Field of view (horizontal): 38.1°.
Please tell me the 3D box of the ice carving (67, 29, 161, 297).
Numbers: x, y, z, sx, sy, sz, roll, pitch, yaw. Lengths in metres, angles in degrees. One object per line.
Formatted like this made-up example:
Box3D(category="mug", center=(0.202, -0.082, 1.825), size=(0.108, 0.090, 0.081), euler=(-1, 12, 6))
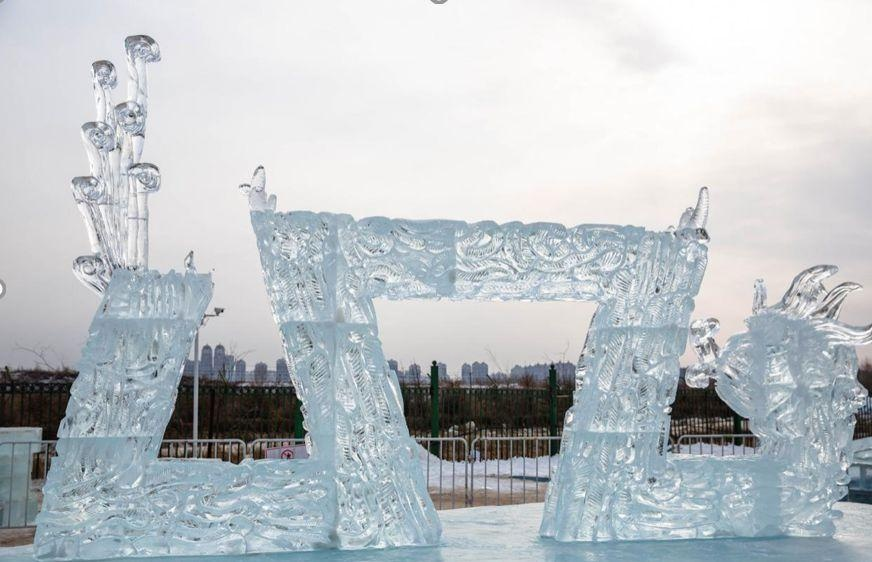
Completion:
Box3D(category="ice carving", center=(-2.905, -1.072, 11.485), size=(0.784, 2.386, 0.451), euler=(-1, -1, -14))
